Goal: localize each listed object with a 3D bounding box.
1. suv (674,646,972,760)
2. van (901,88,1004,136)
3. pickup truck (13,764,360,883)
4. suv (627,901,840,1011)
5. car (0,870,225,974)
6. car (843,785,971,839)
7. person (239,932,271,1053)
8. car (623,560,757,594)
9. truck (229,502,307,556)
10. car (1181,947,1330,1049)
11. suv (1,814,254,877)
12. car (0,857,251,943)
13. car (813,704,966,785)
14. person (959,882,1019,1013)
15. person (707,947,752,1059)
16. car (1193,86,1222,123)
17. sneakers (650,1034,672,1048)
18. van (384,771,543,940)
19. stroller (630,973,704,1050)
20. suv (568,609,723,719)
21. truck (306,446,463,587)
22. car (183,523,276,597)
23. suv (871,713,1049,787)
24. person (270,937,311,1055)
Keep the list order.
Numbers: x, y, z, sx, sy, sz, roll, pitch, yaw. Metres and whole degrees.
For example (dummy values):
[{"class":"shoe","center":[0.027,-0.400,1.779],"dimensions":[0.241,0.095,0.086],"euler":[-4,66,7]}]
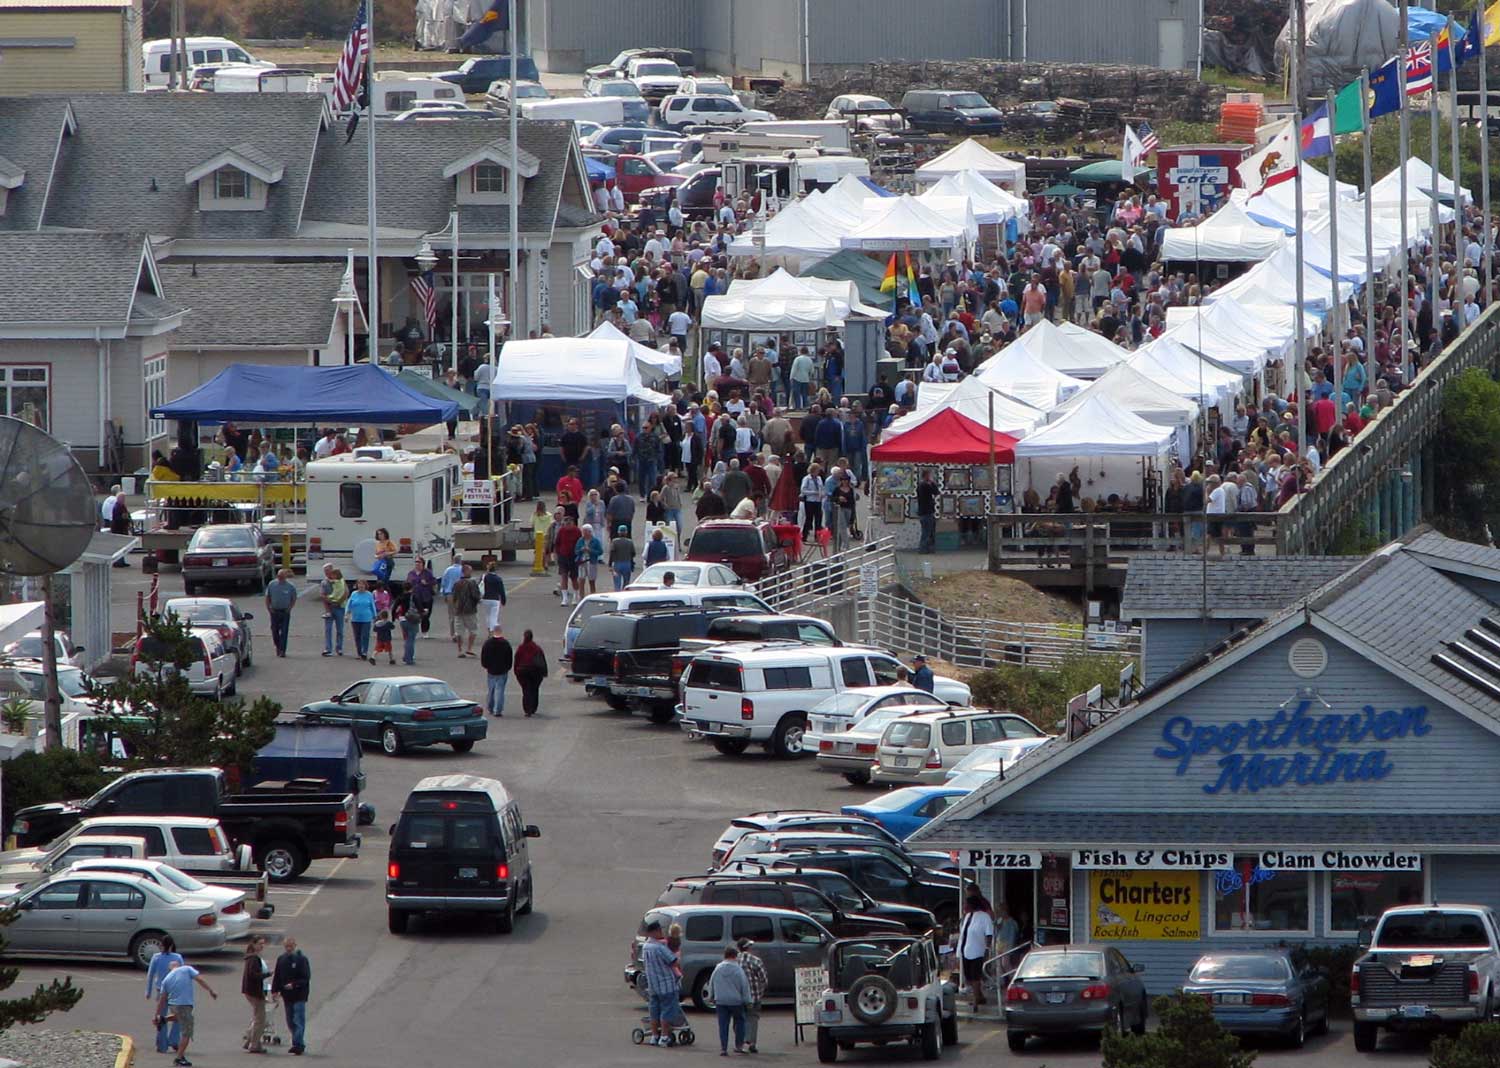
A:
[{"class":"suv","center":[0.909,3.131,92.185],"dimensions":[4.364,1.866,2.456],"euler":[-8,10,-32]},{"class":"van","center":[7.315,-15.599,163.082],"dimensions":[2.803,1.378,1.849],"euler":[0,10,-3]},{"class":"pickup truck","center":[-10.503,5.182,84.487],"dimensions":[5.797,1.994,2.647],"euler":[2,1,-2]},{"class":"suv","center":[0.273,7.624,81.164],"dimensions":[4.389,1.983,2.106],"euler":[0,-2,-17]},{"class":"car","center":[-11.459,7.102,80.131],"dimensions":[3.593,1.354,1.746],"euler":[4,3,2]},{"class":"car","center":[2.985,5.197,85.805],"dimensions":[2.216,0.820,1.038],"euler":[-8,12,-28]},{"class":"person","center":[-8.714,7.919,78.126],"dimensions":[0.460,1.985,1.345],"euler":[0,7,-6]},{"class":"car","center":[-1.301,0.817,97.125],"dimensions":[1.007,0.839,2.218],"euler":[3,7,41]},{"class":"truck","center":[-10.850,-0.263,100.810],"dimensions":[0.982,0.534,1.722],"euler":[-2,10,-41]},{"class":"car","center":[8.924,8.125,78.216],"dimensions":[2.961,1.543,1.464],"euler":[-4,9,-36]},{"class":"suv","center":[-11.214,5.611,82.530],"dimensions":[3.567,1.669,1.784],"euler":[2,4,2]},{"class":"car","center":[-11.189,6.879,81.003],"dimensions":[3.982,1.453,1.844],"euler":[5,1,2]},{"class":"car","center":[2.805,4.126,90.521],"dimensions":[1.320,1.143,2.911],"euler":[4,12,44]},{"class":"person","center":[4.234,7.510,81.026],"dimensions":[0.982,2.011,0.993],"euler":[4,7,26]},{"class":"person","center":[-0.328,8.158,78.270],"dimensions":[0.678,1.799,0.586],"euler":[-1,7,-17]},{"class":"car","center":[17.872,-17.215,175.922],"dimensions":[1.057,1.636,0.763],"euler":[0,-23,-2]},{"class":"sneakers","center":[-1.550,8.819,78.262],"dimensions":[0.399,0.246,0.155],"euler":[0,7,-9]},{"class":"van","center":[-5.433,5.725,81.830],"dimensions":[1.942,2.028,3.320],"euler":[0,6,2]},{"class":"stroller","center":[-1.485,8.218,78.560],"dimensions":[0.786,1.185,1.123],"euler":[-5,3,15]},{"class":"suv","center":[-2.531,2.686,93.503],"dimensions":[1.728,1.563,2.944],"euler":[9,17,41]},{"class":"truck","center":[-8.124,-0.537,99.916],"dimensions":[2.762,2.984,4.303],"euler":[0,4,16]},{"class":"car","center":[-11.720,0.509,99.398],"dimensions":[1.920,1.548,1.545],"euler":[0,7,-8]},{"class":"suv","center":[4.047,4.043,89.585],"dimensions":[3.026,1.323,1.413],"euler":[-12,15,-35]},{"class":"person","center":[-8.084,7.913,78.001],"dimensions":[0.669,1.979,1.456],"euler":[0,7,-6]}]
